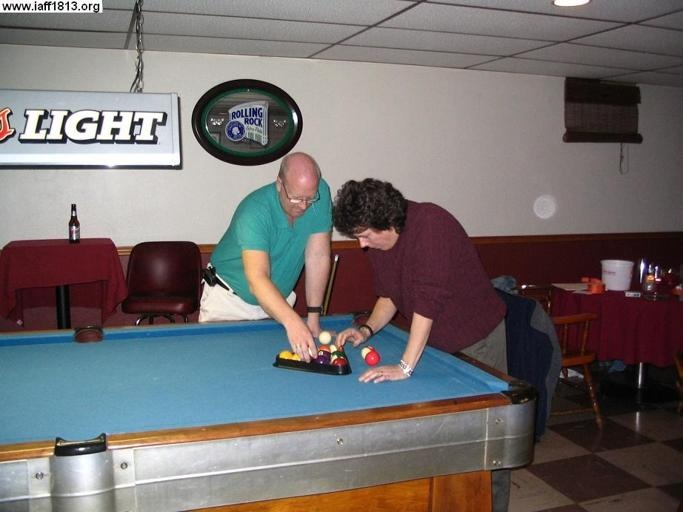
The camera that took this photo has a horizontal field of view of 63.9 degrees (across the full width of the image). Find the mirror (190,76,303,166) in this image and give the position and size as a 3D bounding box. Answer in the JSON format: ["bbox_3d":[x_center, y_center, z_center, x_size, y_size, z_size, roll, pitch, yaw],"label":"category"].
[{"bbox_3d":[-0.862,-1.163,4.675,1.159,0.933,0.064,0,2,-12],"label":"mirror"}]

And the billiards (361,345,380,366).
[{"bbox_3d":[0.129,0.439,2.419,0.072,0.076,0.107,-5,-5,-5],"label":"billiards"}]

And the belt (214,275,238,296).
[{"bbox_3d":[-0.660,0.155,3.089,0.044,0.126,0.090,-49,23,-17],"label":"belt"}]

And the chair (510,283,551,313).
[{"bbox_3d":[1.354,0.301,3.913,0.237,0.318,0.203,0,-3,-1],"label":"chair"}]

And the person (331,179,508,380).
[{"bbox_3d":[0.321,0.058,2.596,0.836,0.840,0.696,-11,10,-44],"label":"person"}]

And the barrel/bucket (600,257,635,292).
[{"bbox_3d":[2.235,0.148,4.426,0.245,0.243,0.254,0,4,0],"label":"barrel/bucket"}]

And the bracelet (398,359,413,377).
[{"bbox_3d":[0.264,0.461,2.285,0.037,0.066,0.054,-47,-22,23],"label":"bracelet"}]

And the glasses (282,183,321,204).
[{"bbox_3d":[-0.199,-0.303,2.671,0.183,0.088,0.197,-1,12,-5],"label":"glasses"}]
